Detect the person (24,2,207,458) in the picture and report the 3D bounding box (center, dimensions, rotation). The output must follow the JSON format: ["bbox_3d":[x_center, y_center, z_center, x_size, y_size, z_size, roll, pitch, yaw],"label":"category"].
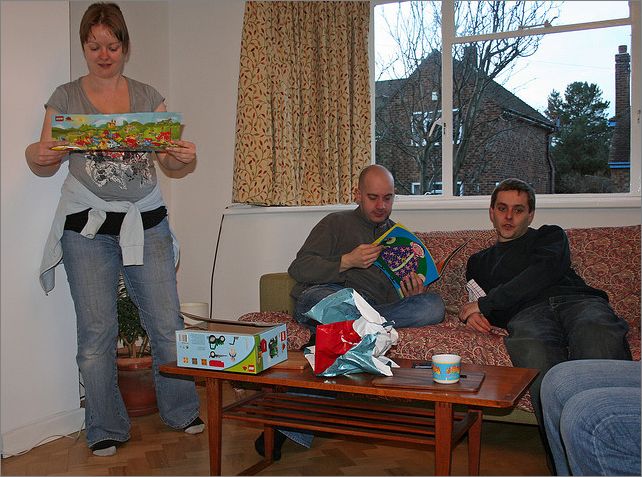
[{"bbox_3d":[-0.959,-0.030,2.272,0.755,2.046,0.462,-5,7,-17],"label":"person"}]

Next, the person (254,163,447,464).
[{"bbox_3d":[0.239,0.311,2.756,0.824,1.397,0.732,-2,4,-9],"label":"person"}]

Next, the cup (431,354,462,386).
[{"bbox_3d":[0.401,0.415,1.551,0.082,0.063,0.084,0,-7,0],"label":"cup"}]
